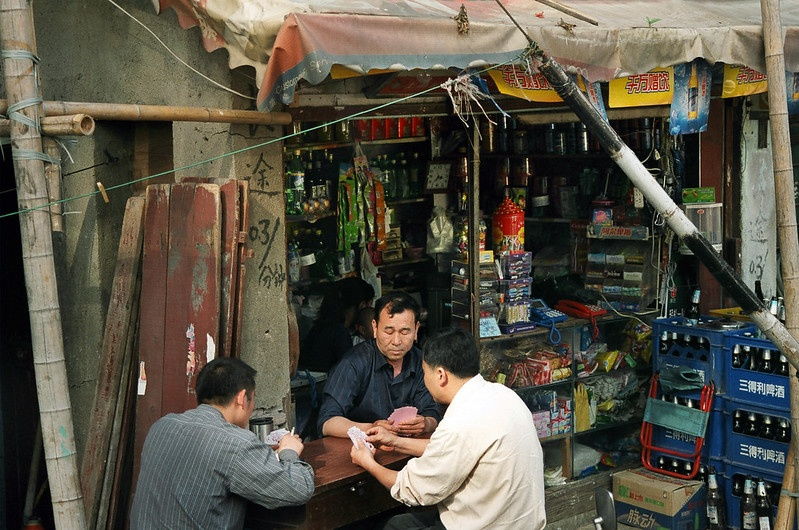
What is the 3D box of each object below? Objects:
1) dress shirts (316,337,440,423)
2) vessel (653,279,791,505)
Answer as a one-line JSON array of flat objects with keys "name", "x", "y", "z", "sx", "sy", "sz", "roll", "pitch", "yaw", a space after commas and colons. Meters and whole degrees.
[{"name": "dress shirts", "x": -0.132, "y": 0.892, "z": 6.213, "sx": 0.637, "sy": 0.647, "sz": 0.357, "roll": 18, "pitch": 2, "yaw": -15}, {"name": "vessel", "x": 3.053, "y": 1.166, "z": 7.590, "sx": 1.090, "sy": 1.426, "sz": 1.903, "roll": -4, "pitch": 8, "yaw": -20}]
